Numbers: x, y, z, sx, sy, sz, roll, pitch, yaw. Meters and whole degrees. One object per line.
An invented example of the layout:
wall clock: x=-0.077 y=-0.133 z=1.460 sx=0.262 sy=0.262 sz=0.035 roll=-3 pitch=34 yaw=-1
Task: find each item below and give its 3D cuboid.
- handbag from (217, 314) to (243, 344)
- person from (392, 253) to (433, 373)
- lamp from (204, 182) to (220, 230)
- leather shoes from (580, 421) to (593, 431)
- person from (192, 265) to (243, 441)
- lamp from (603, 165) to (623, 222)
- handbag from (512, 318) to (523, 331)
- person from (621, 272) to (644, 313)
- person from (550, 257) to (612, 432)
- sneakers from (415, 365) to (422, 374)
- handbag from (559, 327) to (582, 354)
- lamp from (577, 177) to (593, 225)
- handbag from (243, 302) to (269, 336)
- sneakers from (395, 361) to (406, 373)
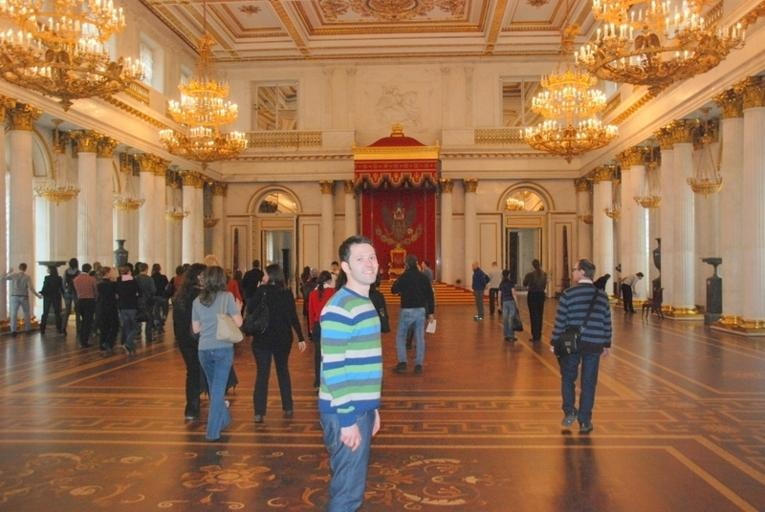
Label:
handbag: x=-2.305 y=1.082 z=9.977 sx=0.150 sy=0.389 sz=0.384 roll=-16 pitch=-16 yaw=31
person: x=0.614 y=1.150 z=13.441 sx=0.821 sy=2.328 sz=0.483 roll=-1 pitch=-1 yaw=-10
lamp: x=-7.456 y=-2.207 z=28.904 sx=0.558 sy=1.953 sz=1.463 roll=-1 pitch=-1 yaw=-15
leather shoes: x=3.101 y=2.604 z=10.203 sx=0.194 sy=0.171 sz=0.178 roll=-1 pitch=-1 yaw=11
person: x=-2.509 y=1.452 z=10.107 sx=0.783 sy=2.607 sz=0.458 roll=-1 pitch=-1 yaw=-4
lamp: x=9.011 y=-2.450 z=26.329 sx=0.626 sy=2.083 sz=3.591 roll=-1 pitch=-1 yaw=19
handbag: x=3.298 y=1.647 z=16.333 sx=0.186 sy=0.287 sz=0.624 roll=-1 pitch=-1 yaw=15
person: x=8.216 y=1.248 z=22.111 sx=0.600 sy=1.336 sz=1.025 roll=-1 pitch=-1 yaw=16
person: x=3.026 y=1.376 z=10.223 sx=0.884 sy=2.630 sz=0.534 roll=-1 pitch=-1 yaw=14
sneakers: x=0.701 y=2.246 z=13.284 sx=0.136 sy=0.141 sz=0.292 roll=-1 pitch=-1 yaw=2
handbag: x=2.826 y=1.278 z=10.039 sx=0.318 sy=0.387 sz=0.210 roll=-6 pitch=-21 yaw=43
lamp: x=8.629 y=-2.571 z=28.788 sx=0.685 sy=1.595 sz=0.686 roll=-1 pitch=-1 yaw=18
handbag: x=-2.003 y=1.010 z=10.630 sx=0.233 sy=0.642 sz=0.481 roll=23 pitch=-11 yaw=-35
sneakers: x=0.353 y=2.213 z=13.302 sx=0.211 sy=0.201 sz=0.157 roll=-1 pitch=-1 yaw=0
